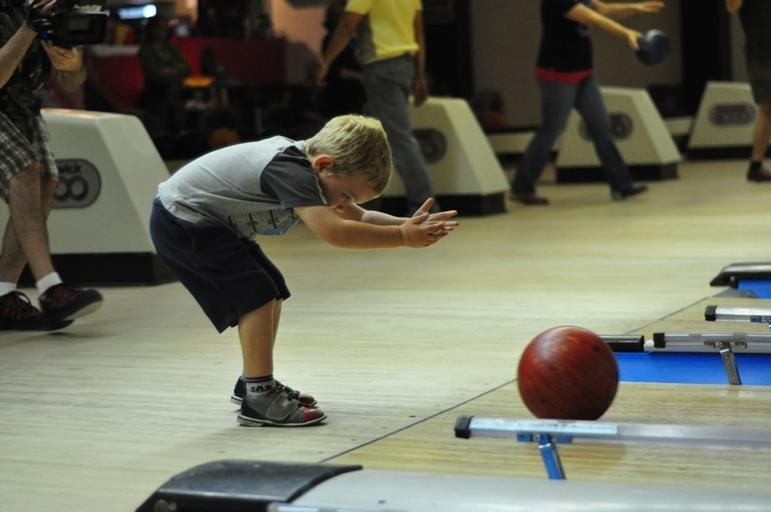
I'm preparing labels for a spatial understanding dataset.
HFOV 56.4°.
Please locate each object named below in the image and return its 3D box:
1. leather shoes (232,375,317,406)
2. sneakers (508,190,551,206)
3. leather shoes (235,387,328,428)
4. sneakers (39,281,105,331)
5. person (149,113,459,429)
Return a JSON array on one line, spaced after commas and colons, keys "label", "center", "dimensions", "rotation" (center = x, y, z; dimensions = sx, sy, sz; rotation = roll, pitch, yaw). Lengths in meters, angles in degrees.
[{"label": "leather shoes", "center": [-0.259, 0.312, 1.673], "dimensions": [0.165, 0.063, 0.054], "rotation": [9, 15, 2]}, {"label": "sneakers", "center": [1.000, -0.397, 4.970], "dimensions": [0.283, 0.110, 0.097], "rotation": [1, 3, 21]}, {"label": "leather shoes", "center": [-0.234, 0.343, 1.655], "dimensions": [0.198, 0.088, 0.079], "rotation": [1, -1, 2]}, {"label": "sneakers", "center": [-1.072, 0.160, 2.445], "dimensions": [0.255, 0.117, 0.095], "rotation": [-19, 8, 30]}, {"label": "person", "center": [-0.211, 0.034, 1.616], "dimensions": [0.712, 0.684, 0.167], "rotation": [-2, -2, 25]}]
